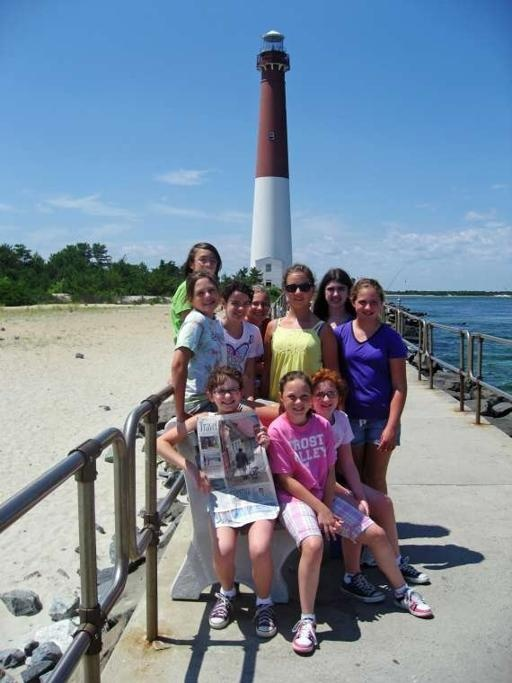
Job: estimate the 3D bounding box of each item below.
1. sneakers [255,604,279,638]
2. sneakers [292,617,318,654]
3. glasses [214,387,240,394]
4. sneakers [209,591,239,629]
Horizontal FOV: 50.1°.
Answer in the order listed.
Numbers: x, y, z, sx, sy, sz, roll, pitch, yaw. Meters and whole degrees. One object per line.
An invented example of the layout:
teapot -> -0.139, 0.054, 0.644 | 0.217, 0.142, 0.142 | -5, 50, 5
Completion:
sneakers -> 0.043, 1.250, 2.482 | 0.094, 0.119, 0.152 | -4, 2, -2
sneakers -> 0.212, 1.262, 2.363 | 0.108, 0.114, 0.183 | -3, 2, 3
glasses -> -0.144, 0.249, 2.763 | 0.111, 0.034, 0.036 | -4, 2, -14
sneakers -> -0.159, 1.259, 2.587 | 0.081, 0.085, 0.178 | -3, 2, 19
